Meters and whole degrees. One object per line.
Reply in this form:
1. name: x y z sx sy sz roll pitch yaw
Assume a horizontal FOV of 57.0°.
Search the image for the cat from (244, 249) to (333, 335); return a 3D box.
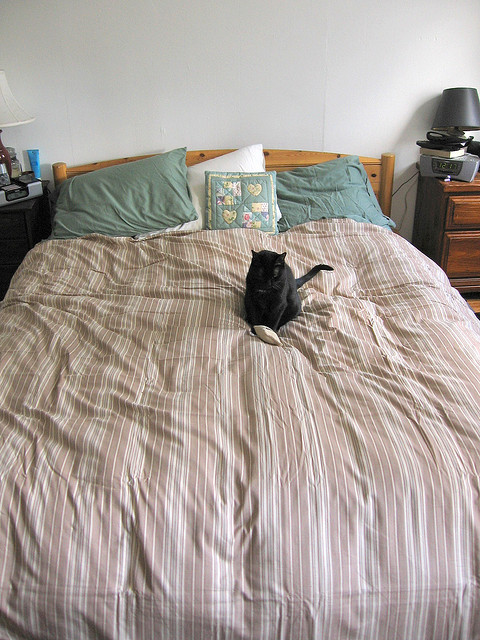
1. cat: 0.121 -0.127 1.387 0.200 0.240 0.199 -2 27 -11
